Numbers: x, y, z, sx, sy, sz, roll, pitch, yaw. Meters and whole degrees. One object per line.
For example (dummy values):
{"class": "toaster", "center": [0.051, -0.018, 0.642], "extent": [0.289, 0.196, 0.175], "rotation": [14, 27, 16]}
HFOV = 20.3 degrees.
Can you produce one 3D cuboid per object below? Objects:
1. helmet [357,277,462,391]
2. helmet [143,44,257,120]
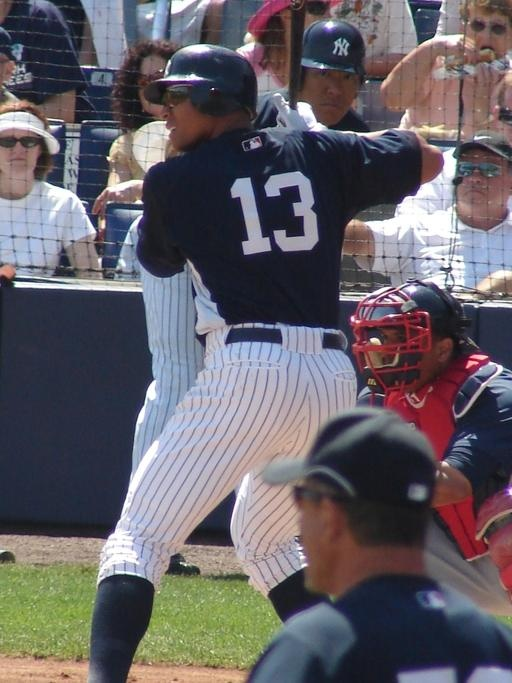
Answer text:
{"class": "helmet", "center": [0.370, -0.025, 3.657], "extent": [0.331, 0.234, 0.261], "rotation": [3, -6, -17]}
{"class": "helmet", "center": [-0.125, -0.644, 3.486], "extent": [0.258, 0.113, 0.170], "rotation": [10, -4, -1]}
